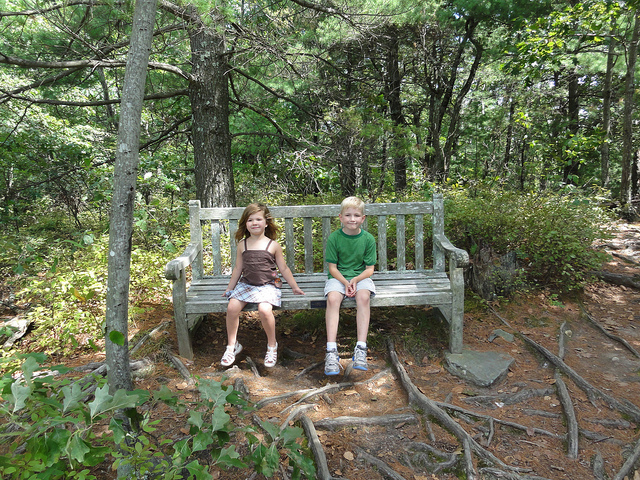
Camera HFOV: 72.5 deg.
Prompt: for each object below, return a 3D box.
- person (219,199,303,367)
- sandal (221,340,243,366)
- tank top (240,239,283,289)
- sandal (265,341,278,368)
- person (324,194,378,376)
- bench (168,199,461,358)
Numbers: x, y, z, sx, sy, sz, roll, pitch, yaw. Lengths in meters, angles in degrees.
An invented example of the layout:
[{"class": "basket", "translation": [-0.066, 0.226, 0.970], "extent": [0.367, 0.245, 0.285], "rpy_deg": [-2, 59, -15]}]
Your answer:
[{"class": "person", "translation": [-0.593, 0.417, 4.266], "extent": [0.803, 1.553, 0.831], "rpy_deg": [-1, 7, -6]}, {"class": "sandal", "translation": [-0.809, 1.044, 4.060], "extent": [0.105, 0.111, 0.275], "rpy_deg": [0, 7, 15]}, {"class": "tank top", "translation": [-0.533, 0.251, 4.292], "extent": [0.533, 0.555, 0.333], "rpy_deg": [0, -10, -4]}, {"class": "sandal", "translation": [-0.440, 1.053, 3.993], "extent": [0.083, 0.091, 0.231], "rpy_deg": [3, 28, 1]}, {"class": "person", "translation": [0.310, 0.415, 4.197], "extent": [0.531, 1.647, 1.041], "rpy_deg": [0, 7, 1]}, {"class": "bench", "translation": [-0.009, 0.381, 4.482], "extent": [2.808, 1.357, 1.009], "rpy_deg": [-3, 17, 0]}]
